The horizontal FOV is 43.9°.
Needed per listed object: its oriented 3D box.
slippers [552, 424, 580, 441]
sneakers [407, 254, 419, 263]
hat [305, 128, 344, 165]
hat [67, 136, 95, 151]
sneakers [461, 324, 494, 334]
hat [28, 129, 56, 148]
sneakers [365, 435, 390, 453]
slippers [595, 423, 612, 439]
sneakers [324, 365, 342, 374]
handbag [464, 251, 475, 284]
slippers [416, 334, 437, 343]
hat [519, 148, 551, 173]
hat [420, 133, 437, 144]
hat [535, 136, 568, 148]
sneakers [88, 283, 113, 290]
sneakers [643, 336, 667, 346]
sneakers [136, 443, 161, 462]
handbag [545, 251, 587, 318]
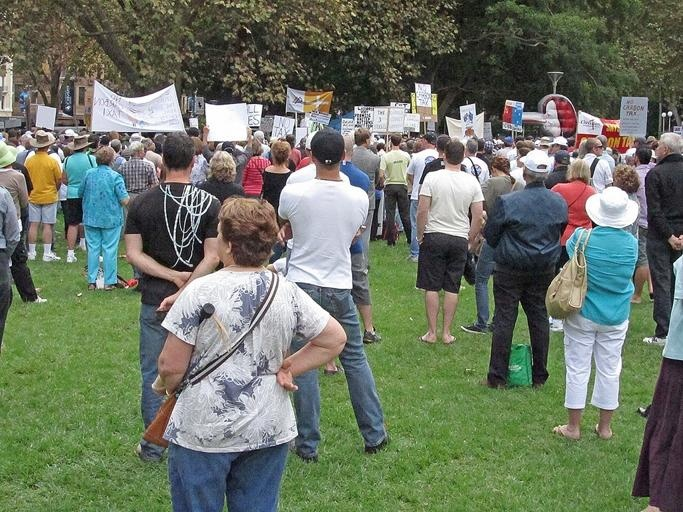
[{"bbox_3d":[2.310,1.785,8.637,0.127,0.108,0.231,2,8,-40],"label":"slippers"},{"bbox_3d":[1.311,0.020,15.609,0.153,0.096,0.335,0,15,-7],"label":"sneakers"},{"bbox_3d":[-0.122,-1.008,7.821,0.226,0.362,0.207,1,-17,-3],"label":"hat"},{"bbox_3d":[-4.510,-1.977,14.765,0.243,0.130,0.304,3,19,10],"label":"hat"},{"bbox_3d":[1.855,0.992,11.547,0.390,0.184,0.154,3,-1,16],"label":"sneakers"},{"bbox_3d":[-5.029,-1.982,14.298,0.343,0.163,0.420,8,34,-8],"label":"hat"},{"bbox_3d":[0.354,1.854,8.294,0.098,0.146,0.295,-12,-12,36],"label":"sneakers"},{"bbox_3d":[2.682,1.774,8.602,0.089,0.129,0.187,1,11,8],"label":"slippers"},{"bbox_3d":[-0.098,1.313,9.916,0.083,0.102,0.230,3,6,36],"label":"sneakers"},{"bbox_3d":[1.695,0.166,11.126,0.157,0.517,0.569,3,14,9],"label":"handbag"},{"bbox_3d":[1.126,1.090,11.140,0.253,0.118,0.096,15,-20,28],"label":"slippers"},{"bbox_3d":[2.161,-1.082,9.421,0.205,0.171,0.316,1,30,-3],"label":"hat"},{"bbox_3d":[1.572,-2.100,15.144,0.179,0.160,0.262,-8,27,-25],"label":"hat"},{"bbox_3d":[3.901,-2.055,15.517,0.646,0.247,0.456,2,0,10],"label":"hat"},{"bbox_3d":[-3.745,0.461,13.234,0.399,0.113,0.139,-4,15,-21],"label":"sneakers"},{"bbox_3d":[4.174,1.122,11.248,0.301,0.156,0.116,11,2,26],"label":"sneakers"},{"bbox_3d":[-1.858,1.894,8.161,0.206,0.109,0.129,2,-7,7],"label":"sneakers"},{"bbox_3d":[2.288,0.297,8.585,0.228,0.555,0.524,19,-16,1],"label":"handbag"}]
